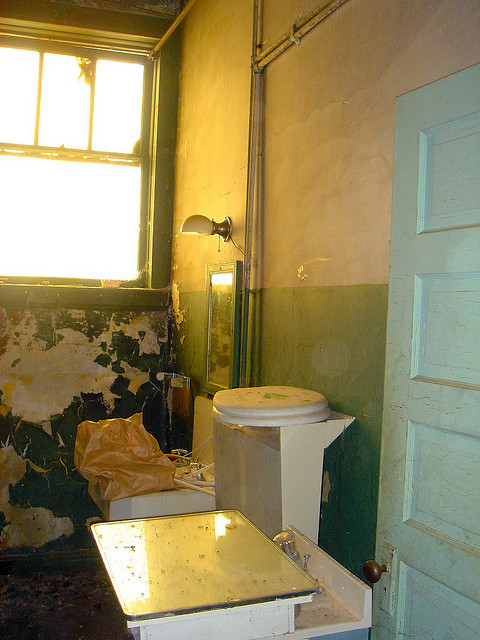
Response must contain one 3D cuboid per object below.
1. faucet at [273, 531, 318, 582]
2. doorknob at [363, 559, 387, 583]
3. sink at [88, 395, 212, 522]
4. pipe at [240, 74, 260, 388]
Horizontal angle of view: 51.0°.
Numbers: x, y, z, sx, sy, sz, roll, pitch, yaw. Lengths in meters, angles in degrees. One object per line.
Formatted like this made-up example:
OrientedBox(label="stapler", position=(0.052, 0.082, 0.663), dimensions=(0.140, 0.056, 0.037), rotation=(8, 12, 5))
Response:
OrientedBox(label="faucet", position=(0.097, 0.439, 0.942), dimensions=(0.068, 0.086, 0.119), rotation=(5, -1, 22))
OrientedBox(label="doorknob", position=(0.334, 0.623, 1.261), dimensions=(0.051, 0.057, 0.042), rotation=(1, -8, -26))
OrientedBox(label="sink", position=(-0.328, 0.509, 2.318), dimensions=(0.394, 0.661, 0.545), rotation=(3, -4, -23))
OrientedBox(label="pipe", position=(0.040, -0.355, 2.094), dimensions=(0.039, 1.254, 0.171), rotation=(3, 0, 1))
